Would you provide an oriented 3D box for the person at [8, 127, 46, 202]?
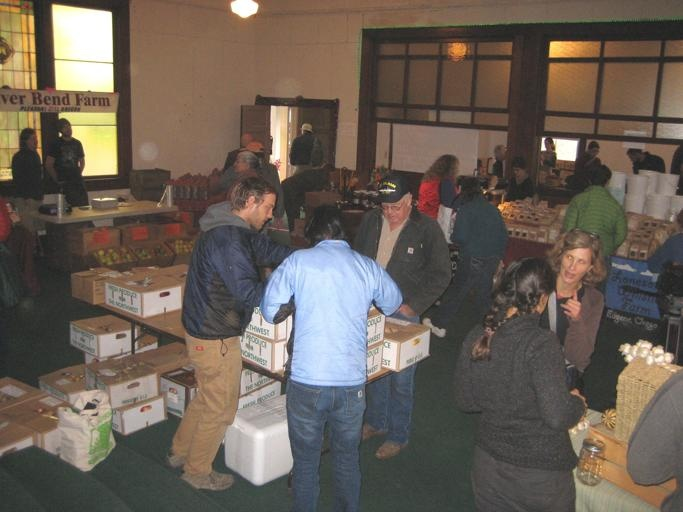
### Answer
[{"bbox_3d":[-4.848,-1.420,8.943,0.396,1.102,0.271,-6,17,-28],"label":"person"}]

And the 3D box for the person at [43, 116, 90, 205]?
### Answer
[{"bbox_3d":[-4.368,-1.503,9.243,0.602,1.348,0.528,-8,18,-34],"label":"person"}]

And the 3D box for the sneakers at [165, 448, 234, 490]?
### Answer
[{"bbox_3d":[-0.996,1.578,4.294,0.578,0.257,0.195,0,12,-15],"label":"sneakers"}]

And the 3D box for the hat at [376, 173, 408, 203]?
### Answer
[{"bbox_3d":[0.399,-0.530,4.453,0.170,0.149,0.248,7,28,19],"label":"hat"}]

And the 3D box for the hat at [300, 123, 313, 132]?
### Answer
[{"bbox_3d":[-0.648,-2.500,11.223,0.267,0.120,0.268,-4,14,-16],"label":"hat"}]

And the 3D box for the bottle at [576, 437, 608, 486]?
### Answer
[{"bbox_3d":[1.553,1.290,3.576,0.146,0.246,0.148,10,-11,2],"label":"bottle"}]

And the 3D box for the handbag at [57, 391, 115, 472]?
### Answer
[{"bbox_3d":[-1.929,1.340,4.425,0.415,0.493,0.377,-6,17,-28],"label":"handbag"}]
